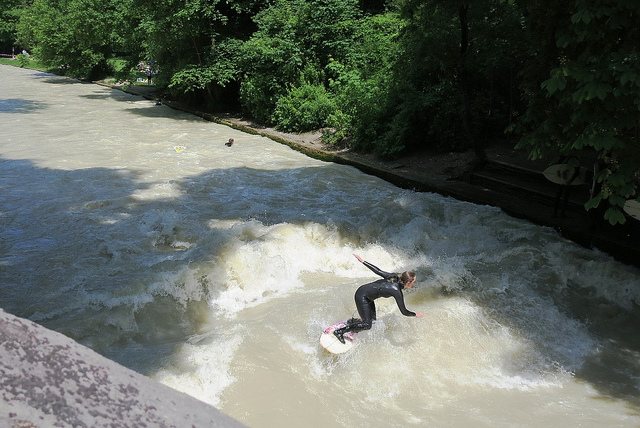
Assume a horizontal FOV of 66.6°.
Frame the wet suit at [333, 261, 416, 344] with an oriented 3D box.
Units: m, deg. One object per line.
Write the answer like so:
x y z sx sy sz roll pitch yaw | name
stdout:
0.965 1.668 9.107 1.366 1.127 0.969 4 19 -13 | wet suit

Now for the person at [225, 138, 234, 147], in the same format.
-3.932 -3.156 21.004 0.343 0.329 0.702 3 19 -16 | person

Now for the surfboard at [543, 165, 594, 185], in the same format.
6.159 -1.011 12.291 0.989 0.242 0.992 13 42 24 | surfboard

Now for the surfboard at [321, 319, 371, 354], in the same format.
0.384 2.218 8.913 0.597 0.304 0.898 23 23 36 | surfboard
